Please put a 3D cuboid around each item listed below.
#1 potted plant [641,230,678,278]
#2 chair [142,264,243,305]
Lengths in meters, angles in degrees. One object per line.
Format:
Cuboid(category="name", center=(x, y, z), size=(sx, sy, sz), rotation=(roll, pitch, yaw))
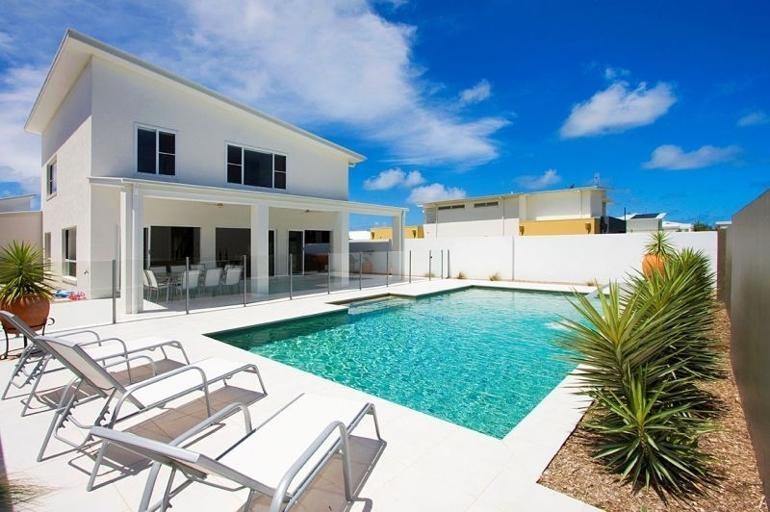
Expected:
Cuboid(category="potted plant", center=(8.125, -0.149, 12.801), size=(0.596, 1.209, 2.733), rotation=(1, 1, 31))
Cuboid(category="chair", center=(-5.984, 0.848, 13.421), size=(2.790, 1.177, 1.094), rotation=(-1, 2, -29))
